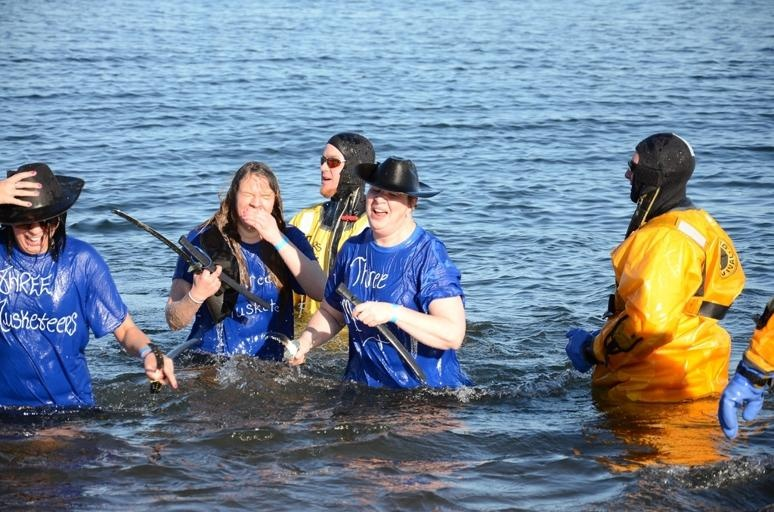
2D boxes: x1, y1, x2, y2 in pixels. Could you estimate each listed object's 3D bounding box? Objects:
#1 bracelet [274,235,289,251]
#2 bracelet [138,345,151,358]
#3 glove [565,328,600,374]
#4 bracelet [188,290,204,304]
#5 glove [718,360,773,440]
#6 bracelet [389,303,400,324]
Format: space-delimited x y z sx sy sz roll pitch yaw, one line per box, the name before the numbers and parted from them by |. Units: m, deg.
bracelet | -1.460 -0.169 19.972 0.239 0.162 0.201 1 0 -4
bracelet | -3.203 1.268 18.916 0.188 0.103 0.163 -4 -16 12
glove | 2.678 1.336 20.054 0.298 0.516 0.640 10 -7 -38
bracelet | -2.610 0.567 19.598 0.201 0.179 0.097 1 13 -3
glove | 4.659 1.868 19.011 0.764 1.011 0.326 8 13 -2
bracelet | 0.077 0.779 19.036 0.078 0.208 0.242 17 17 0
